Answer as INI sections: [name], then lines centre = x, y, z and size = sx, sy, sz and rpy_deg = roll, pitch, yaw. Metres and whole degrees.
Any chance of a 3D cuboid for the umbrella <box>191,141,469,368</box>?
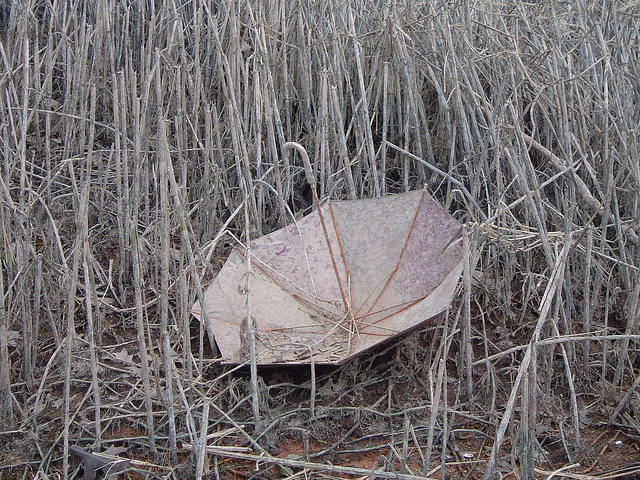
[umbrella]
centre = 0.101, 0.002, 4.271
size = 1.148, 1.327, 0.979
rpy_deg = 3, 58, -28
